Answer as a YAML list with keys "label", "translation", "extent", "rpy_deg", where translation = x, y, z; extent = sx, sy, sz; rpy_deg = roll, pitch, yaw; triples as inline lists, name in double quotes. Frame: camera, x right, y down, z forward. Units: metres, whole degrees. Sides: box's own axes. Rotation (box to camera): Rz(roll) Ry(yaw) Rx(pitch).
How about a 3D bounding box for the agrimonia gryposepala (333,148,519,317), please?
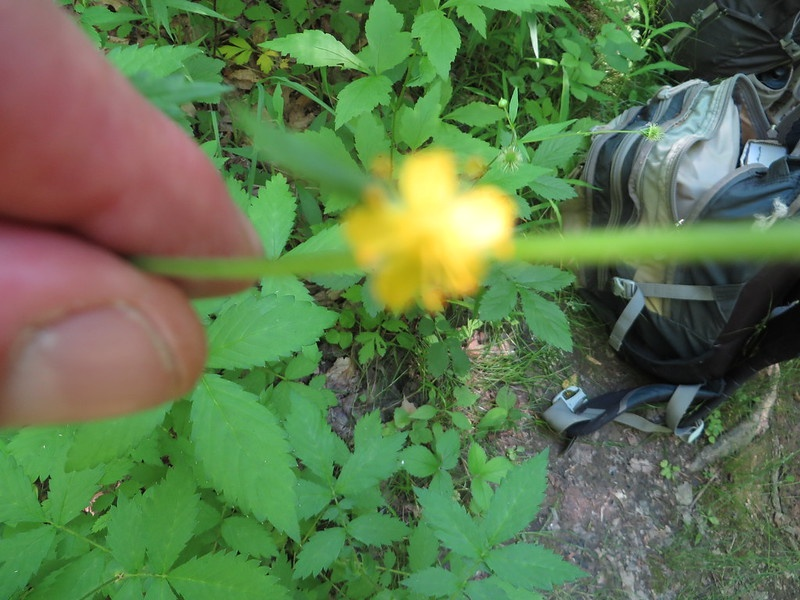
- label: "agrimonia gryposepala"
  translation: [0.063, -0.140, 1.278]
  extent: [0.349, 0.287, 0.236]
  rpy_deg: [24, 29, 6]
